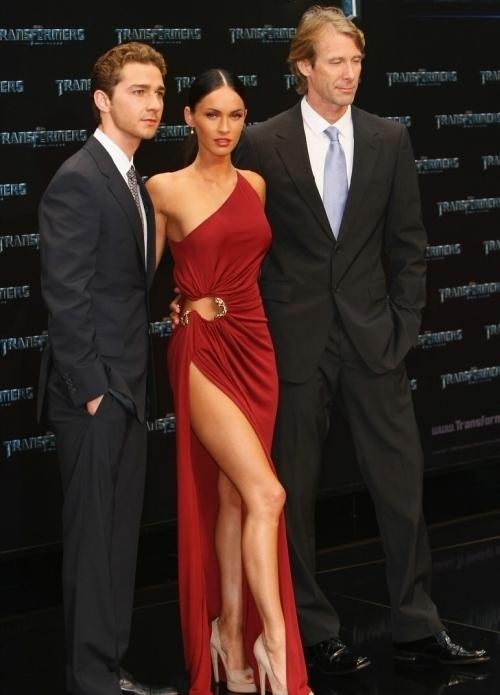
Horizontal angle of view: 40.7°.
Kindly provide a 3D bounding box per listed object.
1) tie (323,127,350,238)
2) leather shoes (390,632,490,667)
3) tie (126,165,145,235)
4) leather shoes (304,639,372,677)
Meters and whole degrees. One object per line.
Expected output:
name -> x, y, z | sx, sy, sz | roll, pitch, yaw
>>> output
tie -> 0.229, -0.447, 1.827 | 0.075, 0.301, 0.038 | -2, 0, -4
leather shoes -> 0.559, 0.878, 2.031 | 0.301, 0.122, 0.101 | -3, -7, 17
tie -> -0.271, -0.345, 1.582 | 0.027, 0.177, 0.021 | 6, -29, -44
leather shoes -> 0.247, 0.898, 1.984 | 0.192, 0.076, 0.082 | -7, -7, 32
